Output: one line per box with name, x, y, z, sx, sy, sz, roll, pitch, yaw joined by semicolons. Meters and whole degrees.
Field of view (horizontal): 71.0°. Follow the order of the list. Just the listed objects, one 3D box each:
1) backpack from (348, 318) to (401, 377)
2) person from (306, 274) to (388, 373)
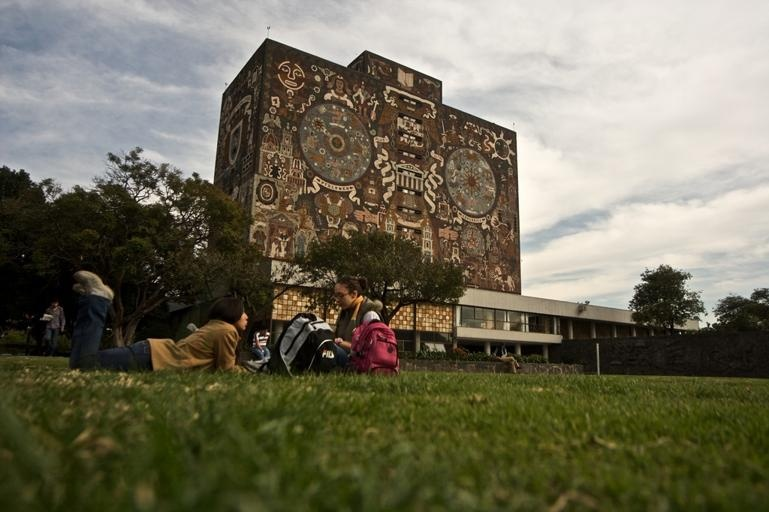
backpack;-0.101;1.060;5.923;0.469;0.647;0.598;13;-28;-26
person;-0.380;0.874;6.733;0.883;1.172;0.762;12;-31;-20
